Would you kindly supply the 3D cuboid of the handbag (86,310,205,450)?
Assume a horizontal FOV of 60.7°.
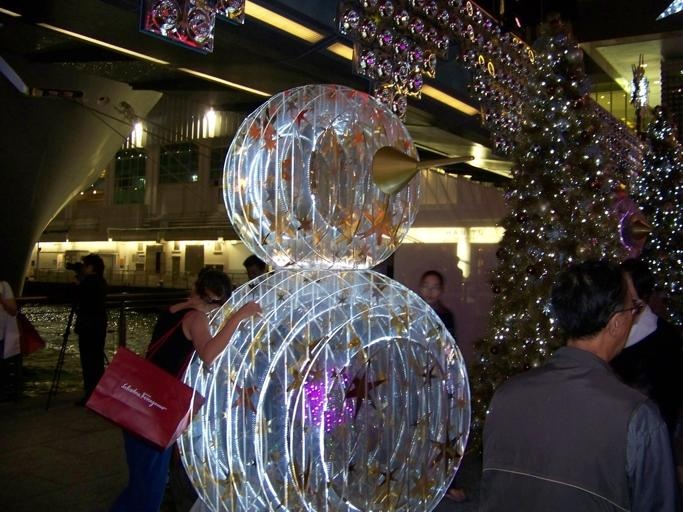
[{"bbox_3d":[-1.050,0.789,3.192,0.666,0.653,0.153,2,-1,8],"label":"handbag"}]
